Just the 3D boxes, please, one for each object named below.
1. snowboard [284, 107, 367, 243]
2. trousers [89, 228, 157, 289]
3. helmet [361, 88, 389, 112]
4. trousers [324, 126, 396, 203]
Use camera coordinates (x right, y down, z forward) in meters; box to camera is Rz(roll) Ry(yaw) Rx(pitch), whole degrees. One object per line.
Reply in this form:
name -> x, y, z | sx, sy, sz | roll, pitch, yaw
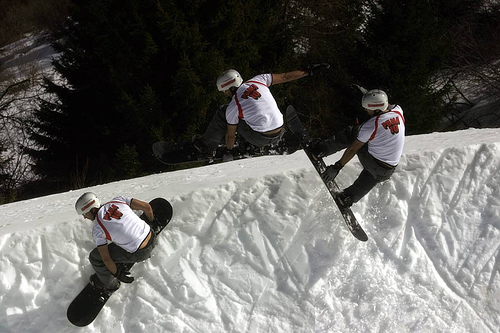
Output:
snowboard -> 1.962, 0.286, 10.884 | 0.458, 0.374, 4.853 | -24, 78, 4
trousers -> -2.927, 1.708, 9.422 | 1.422, 0.579, 1.118 | -8, 14, 4
helmet -> 3.013, -1.612, 9.922 | 0.561, 0.603, 0.496 | -8, 39, 7
trousers -> 2.911, 0.001, 10.426 | 1.704, 0.604, 1.919 | -44, 63, 32
